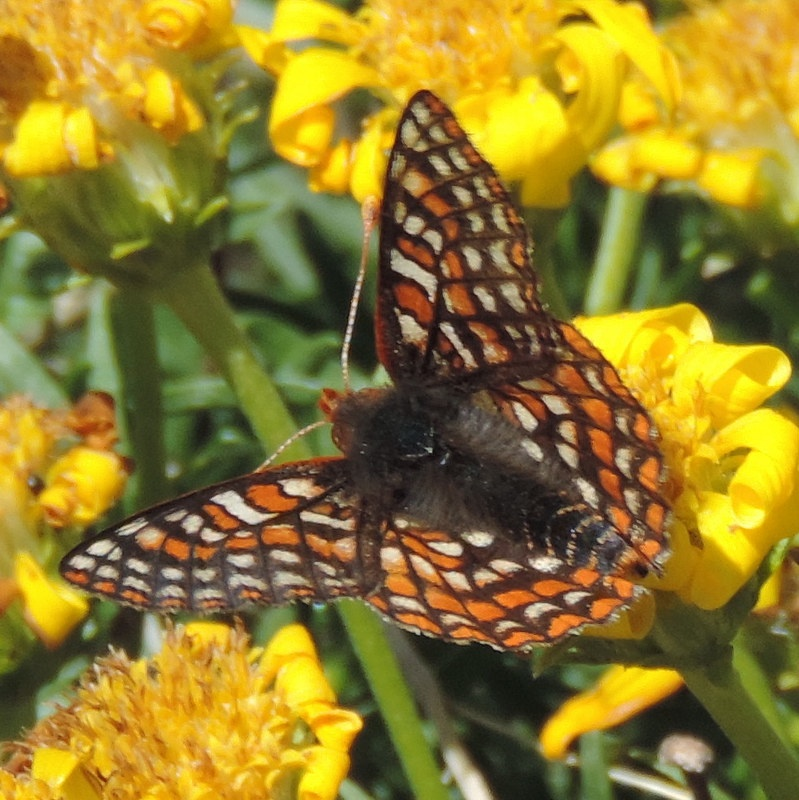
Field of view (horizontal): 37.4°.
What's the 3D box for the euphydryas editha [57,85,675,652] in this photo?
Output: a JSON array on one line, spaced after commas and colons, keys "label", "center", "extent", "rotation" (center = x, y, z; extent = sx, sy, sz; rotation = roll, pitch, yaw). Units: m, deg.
[{"label": "euphydryas editha", "center": [0.023, 0.023, 0.525], "extent": [0.211, 0.177, 0.257], "rotation": [34, 74, 14]}]
